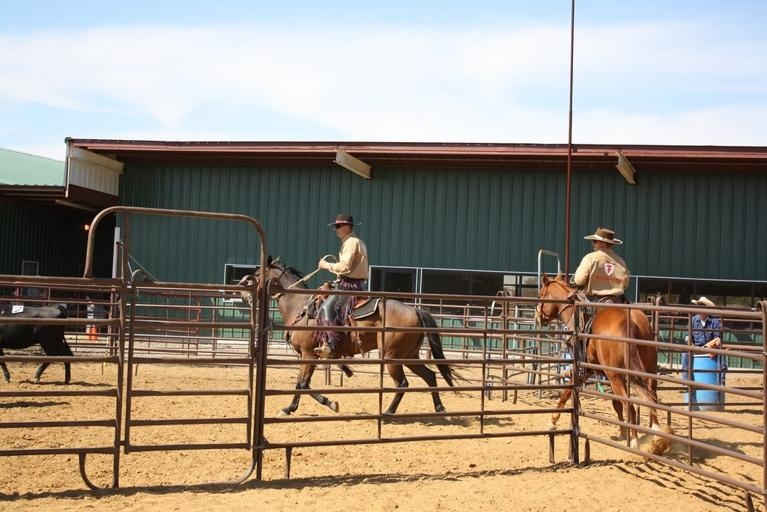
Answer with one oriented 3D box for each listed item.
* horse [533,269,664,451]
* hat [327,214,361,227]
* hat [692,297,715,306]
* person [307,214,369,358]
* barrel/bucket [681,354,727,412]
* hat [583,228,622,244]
[{"bbox_3d":[3.717,1.644,15.909,0.893,2.739,3.597,-6,2,-16],"label":"horse"},{"bbox_3d":[-0.853,-0.791,20.469,0.520,0.186,0.587,-4,-9,34],"label":"hat"},{"bbox_3d":[7.361,1.053,20.891,0.446,0.130,0.407,21,6,40],"label":"hat"},{"bbox_3d":[-0.745,0.639,16.293,0.887,2.663,1.101,1,8,-4],"label":"person"},{"bbox_3d":[6.557,2.540,18.255,0.765,1.146,0.745,-2,-4,0],"label":"barrel/bucket"},{"bbox_3d":[4.745,-0.420,19.496,0.464,0.136,0.412,8,3,-44],"label":"hat"}]
